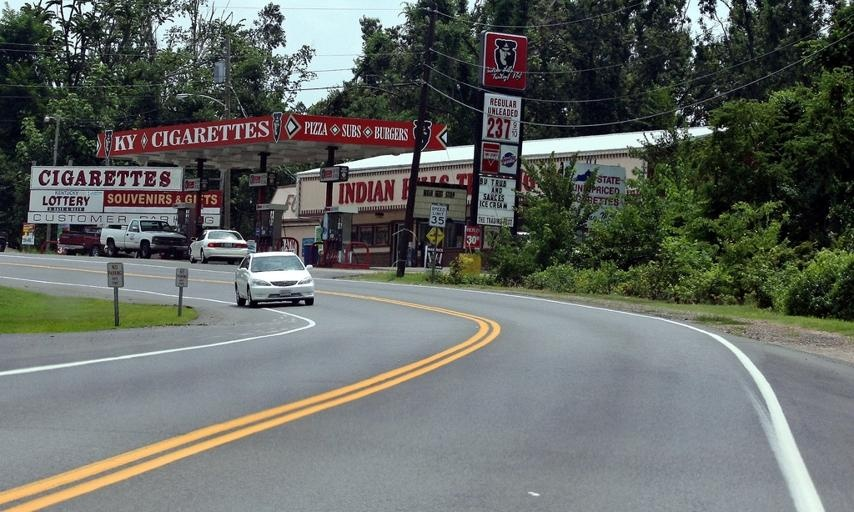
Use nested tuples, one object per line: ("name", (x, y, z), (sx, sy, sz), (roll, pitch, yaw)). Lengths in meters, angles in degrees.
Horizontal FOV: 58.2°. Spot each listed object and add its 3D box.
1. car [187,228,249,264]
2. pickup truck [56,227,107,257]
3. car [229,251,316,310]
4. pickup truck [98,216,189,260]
("car", (-14.055, -0.627, 51.669), (3.908, 2.198, 1.626), (2, 3, 19))
("pickup truck", (-26.656, -1.290, 60.525), (4.270, 2.379, 2.471), (-2, -1, 26))
("car", (-5.917, 0.926, 29.979), (3.006, 2.037, 2.135), (0, 3, -7))
("pickup truck", (-20.667, -1.267, 56.790), (6.579, 2.867, 2.478), (2, 3, 26))
